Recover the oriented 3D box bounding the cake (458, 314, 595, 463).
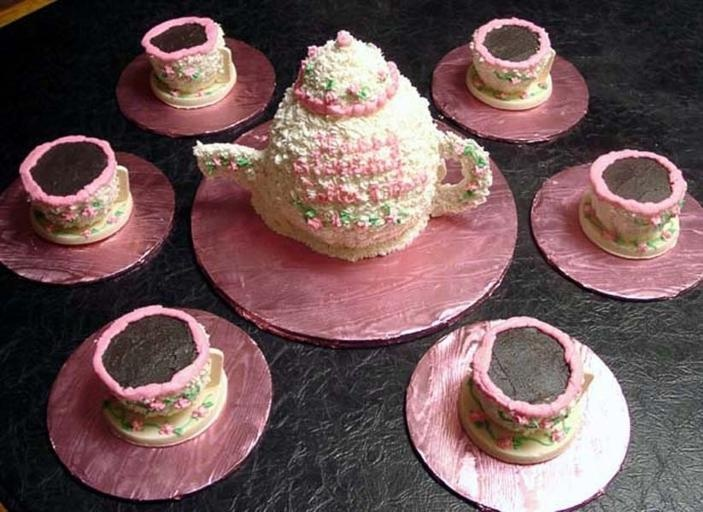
[{"bbox_3d":[0.810,0.584,3.103,0.625,0.440,0.625,9,51,23],"label":"cake"}]

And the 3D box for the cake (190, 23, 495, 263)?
[{"bbox_3d":[-0.015,-0.484,3.353,1.229,0.864,0.880,36,75,13],"label":"cake"}]

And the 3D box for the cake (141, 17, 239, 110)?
[{"bbox_3d":[-0.968,-1.197,4.191,0.550,0.360,0.472,-9,50,-11],"label":"cake"}]

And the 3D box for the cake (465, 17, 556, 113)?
[{"bbox_3d":[0.973,-1.188,4.152,0.538,0.321,0.535,-4,56,0],"label":"cake"}]

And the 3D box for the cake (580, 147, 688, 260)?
[{"bbox_3d":[1.476,-0.300,3.590,0.536,0.337,0.539,13,50,19],"label":"cake"}]

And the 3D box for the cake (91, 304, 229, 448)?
[{"bbox_3d":[-0.883,0.517,3.122,0.597,0.345,0.590,7,42,-7],"label":"cake"}]

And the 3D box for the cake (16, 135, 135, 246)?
[{"bbox_3d":[-1.453,-0.369,3.658,0.556,0.330,0.538,-23,57,-26],"label":"cake"}]
